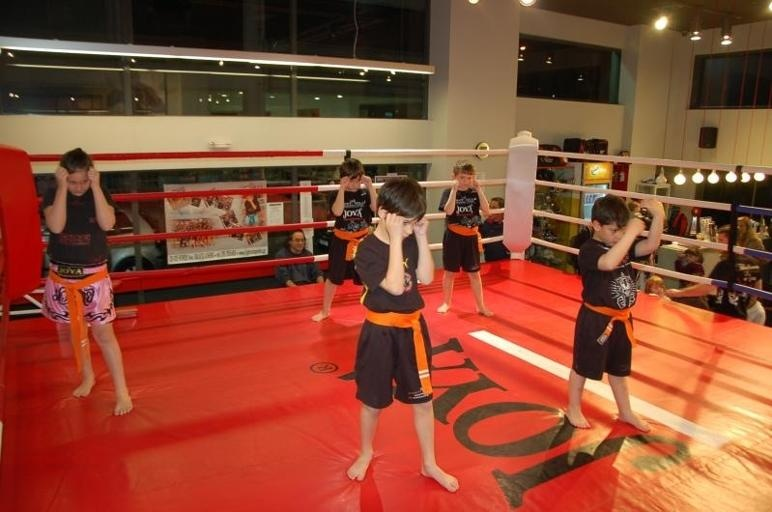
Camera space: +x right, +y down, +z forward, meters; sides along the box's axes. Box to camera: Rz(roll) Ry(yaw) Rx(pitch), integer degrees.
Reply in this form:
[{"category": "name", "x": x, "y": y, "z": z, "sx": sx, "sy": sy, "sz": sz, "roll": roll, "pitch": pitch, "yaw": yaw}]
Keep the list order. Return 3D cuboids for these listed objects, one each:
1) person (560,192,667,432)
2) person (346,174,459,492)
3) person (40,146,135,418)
[{"category": "person", "x": 1.451, "y": 0.370, "z": 3.287, "sx": 0.511, "sy": 1.485, "sz": 0.455, "roll": 1, "pitch": 15, "yaw": 13}, {"category": "person", "x": 0.077, "y": 0.423, "z": 2.965, "sx": 0.625, "sy": 1.721, "sz": 0.542, "roll": -1, "pitch": 15, "yaw": 5}, {"category": "person", "x": -1.979, "y": 0.167, "z": 3.423, "sx": 0.677, "sy": 1.704, "sz": 0.428, "roll": 9, "pitch": 19, "yaw": 37}]
